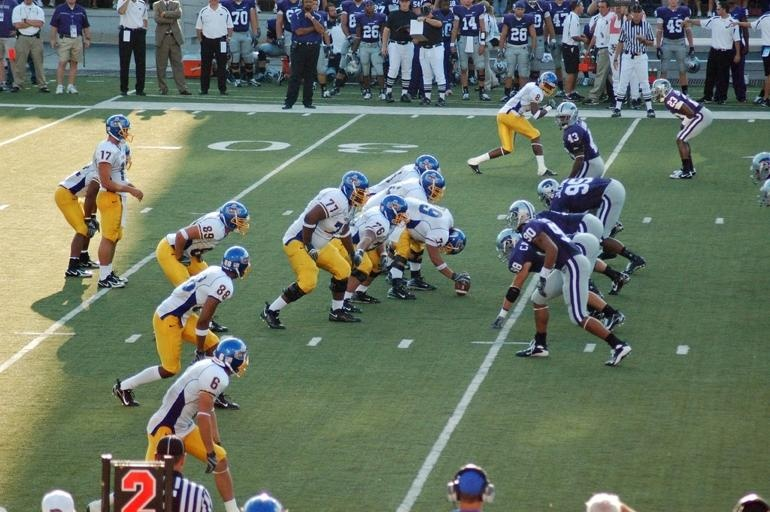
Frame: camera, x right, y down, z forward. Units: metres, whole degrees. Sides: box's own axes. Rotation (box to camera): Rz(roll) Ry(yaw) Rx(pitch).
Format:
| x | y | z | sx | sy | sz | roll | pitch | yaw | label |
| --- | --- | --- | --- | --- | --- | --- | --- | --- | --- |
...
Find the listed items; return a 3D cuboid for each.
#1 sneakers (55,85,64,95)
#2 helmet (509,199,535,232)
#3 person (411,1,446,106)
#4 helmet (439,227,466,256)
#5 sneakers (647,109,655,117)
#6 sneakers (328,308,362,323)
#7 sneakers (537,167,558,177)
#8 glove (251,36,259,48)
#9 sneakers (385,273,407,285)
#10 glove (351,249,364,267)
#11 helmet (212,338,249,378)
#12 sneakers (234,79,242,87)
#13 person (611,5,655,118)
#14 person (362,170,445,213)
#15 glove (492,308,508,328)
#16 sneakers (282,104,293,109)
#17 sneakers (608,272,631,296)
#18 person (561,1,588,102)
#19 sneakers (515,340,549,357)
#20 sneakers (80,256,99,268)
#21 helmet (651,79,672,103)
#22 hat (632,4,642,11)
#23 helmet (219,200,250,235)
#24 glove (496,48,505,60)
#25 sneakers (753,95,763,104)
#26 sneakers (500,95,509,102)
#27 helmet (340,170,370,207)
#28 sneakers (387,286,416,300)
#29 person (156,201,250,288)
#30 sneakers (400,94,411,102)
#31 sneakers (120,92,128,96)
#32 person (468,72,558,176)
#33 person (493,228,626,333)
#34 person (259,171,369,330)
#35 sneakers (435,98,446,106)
| x | y | z | sx | sy | sz | roll | pitch | yaw | label |
| --- | --- | --- | --- | --- | --- | --- | --- | --- | --- |
| -6.958 | -3.553 | 23.502 | 0.139 | 0.131 | 0.331 | -2 | 7 | -19 | sneakers |
| 1.514 | -0.472 | 12.593 | 0.371 | 0.328 | 0.305 | 2 | 6 | 26 | helmet |
| 0.927 | -4.172 | 22.804 | 0.600 | 2.094 | 0.793 | 1 | 14 | 10 | person |
| 0.886 | -0.177 | 13.873 | 0.348 | 0.301 | 0.274 | 24 | 16 | 0 | helmet |
| 5.283 | -2.806 | 21.773 | 0.097 | 0.104 | 0.248 | 0 | 2 | 0 | sneakers |
| -0.504 | 0.730 | 13.328 | 0.448 | 0.164 | 0.146 | 1 | 4 | -4 | sneakers |
| 2.697 | -1.372 | 17.945 | 0.393 | 0.138 | 0.106 | 0 | 39 | -3 | sneakers |
| -2.977 | -4.911 | 25.221 | 0.068 | 0.182 | 0.136 | 38 | -13 | -34 | glove |
| 0.147 | 0.288 | 13.982 | 0.291 | 0.173 | 0.095 | 0 | -15 | 1 | sneakers |
| -0.315 | 0.025 | 13.035 | 0.078 | 0.173 | 0.131 | 15 | 18 | 5 | glove |
| -1.392 | 0.908 | 10.236 | 0.394 | 0.340 | 0.293 | 9 | 11 | -24 | helmet |
| -3.391 | -3.987 | 25.326 | 0.184 | 0.085 | 0.260 | 2 | 14 | -8 | sneakers |
| 4.971 | -3.881 | 21.814 | 0.845 | 2.194 | 0.948 | 1 | 14 | 11 | person |
| 0.305 | -0.832 | 13.994 | 0.842 | 0.345 | 0.529 | -5 | 50 | 9 | person |
| 1.379 | 0.753 | 13.126 | 0.084 | 0.216 | 0.158 | 35 | 51 | 11 | glove |
| -1.995 | -3.046 | 22.360 | 0.223 | 0.077 | 0.087 | 7 | -29 | 7 | sneakers |
| 2.929 | 0.355 | 13.781 | 0.147 | 0.167 | 0.412 | 6 | 20 | 17 | sneakers |
| 3.984 | -4.348 | 23.268 | 0.469 | 2.081 | 1.155 | 1 | 14 | 10 | person |
| 1.676 | 1.060 | 12.465 | 0.421 | 0.165 | 0.152 | 2 | 5 | 5 | sneakers |
| -3.950 | 0.078 | 14.565 | 0.316 | 0.195 | 0.095 | 2 | 51 | -29 | sneakers |
| 4.422 | -2.626 | 17.480 | 0.272 | 0.371 | 0.664 | 2 | 13 | 15 | helmet |
| 4.935 | -4.848 | 21.490 | 0.175 | 0.130 | 0.241 | 1 | 13 | 11 | hat |
| -1.714 | -0.429 | 12.453 | 0.304 | 0.380 | 0.382 | -4 | 14 | -10 | helmet |
| 2.500 | -4.328 | 23.600 | 0.166 | 0.196 | 0.097 | 9 | -4 | -1 | glove |
| 7.716 | -3.215 | 22.691 | 0.093 | 0.102 | 0.254 | 11 | 17 | 41 | sneakers |
| 2.579 | -3.351 | 23.526 | 0.224 | 0.084 | 0.082 | 7 | 14 | 39 | sneakers |
| -0.360 | -0.825 | 13.212 | 0.433 | 0.376 | 0.339 | 20 | 9 | -10 | helmet |
| 0.199 | 0.471 | 13.912 | 0.427 | 0.179 | 0.140 | 1 | 13 | 0 | sneakers |
| -2.169 | -0.100 | 13.129 | 0.727 | 1.217 | 0.480 | 40 | 25 | -16 | person |
| 0.442 | -3.366 | 23.511 | 0.111 | 0.108 | 0.259 | 1 | 5 | -12 | sneakers |
| -5.588 | -3.463 | 23.532 | 0.140 | 0.082 | 0.078 | -6 | 26 | 5 | sneakers |
| 2.138 | -2.178 | 18.143 | 1.294 | 1.636 | 0.866 | 0 | 14 | 6 | person |
| 1.640 | 0.271 | 12.967 | 0.458 | 1.255 | 0.849 | 25 | -1 | -20 | person |
| -0.805 | -0.081 | 13.163 | 1.227 | 1.788 | 0.658 | -2 | 14 | -1 | person |
| 1.177 | -3.212 | 23.097 | 0.105 | 0.157 | 0.299 | -2 | -2 | 28 | sneakers |
